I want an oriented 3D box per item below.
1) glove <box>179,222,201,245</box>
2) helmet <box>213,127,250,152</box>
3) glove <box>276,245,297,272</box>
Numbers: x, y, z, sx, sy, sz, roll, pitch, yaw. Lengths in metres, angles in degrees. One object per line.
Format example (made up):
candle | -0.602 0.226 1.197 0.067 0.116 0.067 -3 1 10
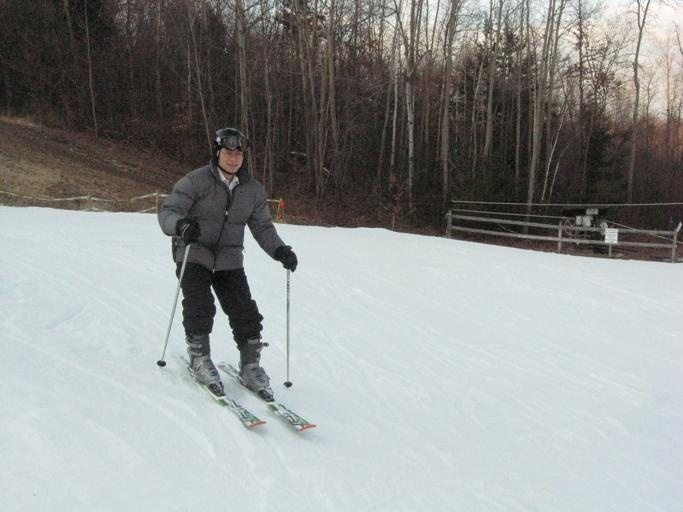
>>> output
glove | -1.618 -0.269 6.485 0.182 0.236 0.097 22 -27 11
helmet | -1.245 -1.249 6.735 0.274 0.201 0.280 -10 10 -44
glove | -0.614 0.001 7.056 0.210 0.323 0.097 -20 -3 41
